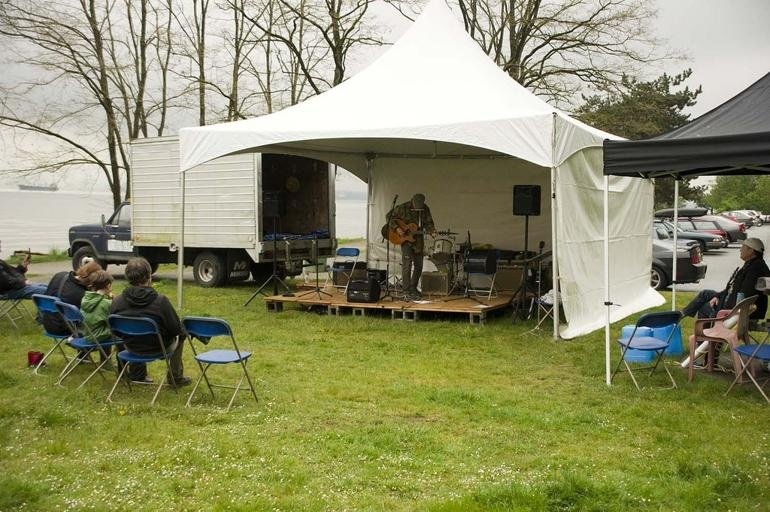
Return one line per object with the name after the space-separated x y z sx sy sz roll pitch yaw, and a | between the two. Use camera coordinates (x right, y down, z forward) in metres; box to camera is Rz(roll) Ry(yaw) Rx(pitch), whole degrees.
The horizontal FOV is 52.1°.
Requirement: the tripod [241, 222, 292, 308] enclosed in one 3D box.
-2.347 0.273 16.782 1.265 1.599 1.299 -7 -9 44 | tripod

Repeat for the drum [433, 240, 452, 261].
1.308 -0.095 17.943 0.451 0.497 0.452 3 4 12 | drum

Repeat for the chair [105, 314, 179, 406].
-3.583 1.492 11.731 0.760 1.343 1.151 3 5 8 | chair

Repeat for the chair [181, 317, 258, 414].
-2.456 1.573 11.677 0.852 1.103 1.351 12 -11 21 | chair

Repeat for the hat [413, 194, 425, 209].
0.719 -1.121 16.509 0.222 0.294 0.272 8 -7 -11 | hat

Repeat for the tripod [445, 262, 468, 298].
1.580 0.550 17.352 0.628 0.888 0.578 -1 -1 -12 | tripod

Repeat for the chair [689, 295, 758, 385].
5.185 1.302 12.154 0.972 1.274 1.006 -6 3 -19 | chair

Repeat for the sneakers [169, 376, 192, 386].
-3.075 1.915 11.945 0.369 0.184 0.131 -4 3 -11 | sneakers

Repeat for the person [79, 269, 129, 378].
-4.387 1.045 12.192 0.620 1.596 0.846 5 6 14 | person

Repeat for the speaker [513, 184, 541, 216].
2.640 -1.018 14.959 0.544 0.786 0.548 1 1 20 | speaker

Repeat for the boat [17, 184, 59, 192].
-10.831 -2.089 24.664 1.160 0.198 0.451 1 2 -26 | boat

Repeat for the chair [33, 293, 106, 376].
-4.888 1.336 12.524 0.583 1.057 0.800 12 -5 20 | chair

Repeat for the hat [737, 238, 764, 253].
5.866 -0.147 12.556 0.265 0.249 0.439 3 2 41 | hat

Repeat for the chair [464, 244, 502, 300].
1.932 0.365 15.829 0.660 1.020 0.744 -2 2 12 | chair

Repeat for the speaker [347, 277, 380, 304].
-0.416 0.703 15.923 0.502 0.477 0.518 -1 0 26 | speaker

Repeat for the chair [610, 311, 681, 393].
4.031 1.412 12.153 0.776 1.278 0.945 -3 8 -17 | chair

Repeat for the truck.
-5.271 -0.829 20.114 5.461 2.878 2.710 0 2 10 | truck
